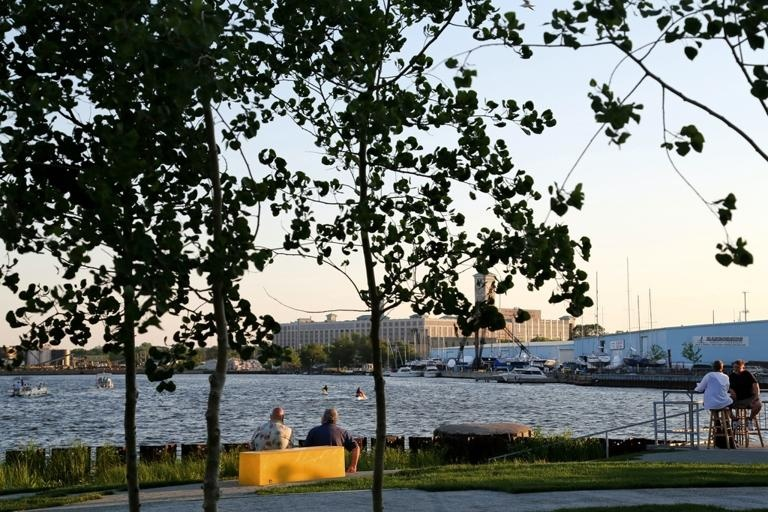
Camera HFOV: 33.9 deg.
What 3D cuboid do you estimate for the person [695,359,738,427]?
[{"bbox_3d":[6.974,2.638,26.339,0.710,1.064,0.673,7,-3,-28],"label":"person"}]

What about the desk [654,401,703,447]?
[{"bbox_3d":[6.638,3.705,28.494,1.051,1.032,0.893,-1,-5,2],"label":"desk"}]

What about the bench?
[{"bbox_3d":[-1.613,3.652,22.518,1.884,0.569,0.424,2,-12,-32],"label":"bench"}]

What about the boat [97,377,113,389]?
[{"bbox_3d":[-31.941,14.194,144.069,1.718,0.951,2.499,4,-2,-9],"label":"boat"}]

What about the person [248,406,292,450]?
[{"bbox_3d":[-2.015,3.017,22.578,0.730,0.750,0.638,-2,-10,-9],"label":"person"}]
